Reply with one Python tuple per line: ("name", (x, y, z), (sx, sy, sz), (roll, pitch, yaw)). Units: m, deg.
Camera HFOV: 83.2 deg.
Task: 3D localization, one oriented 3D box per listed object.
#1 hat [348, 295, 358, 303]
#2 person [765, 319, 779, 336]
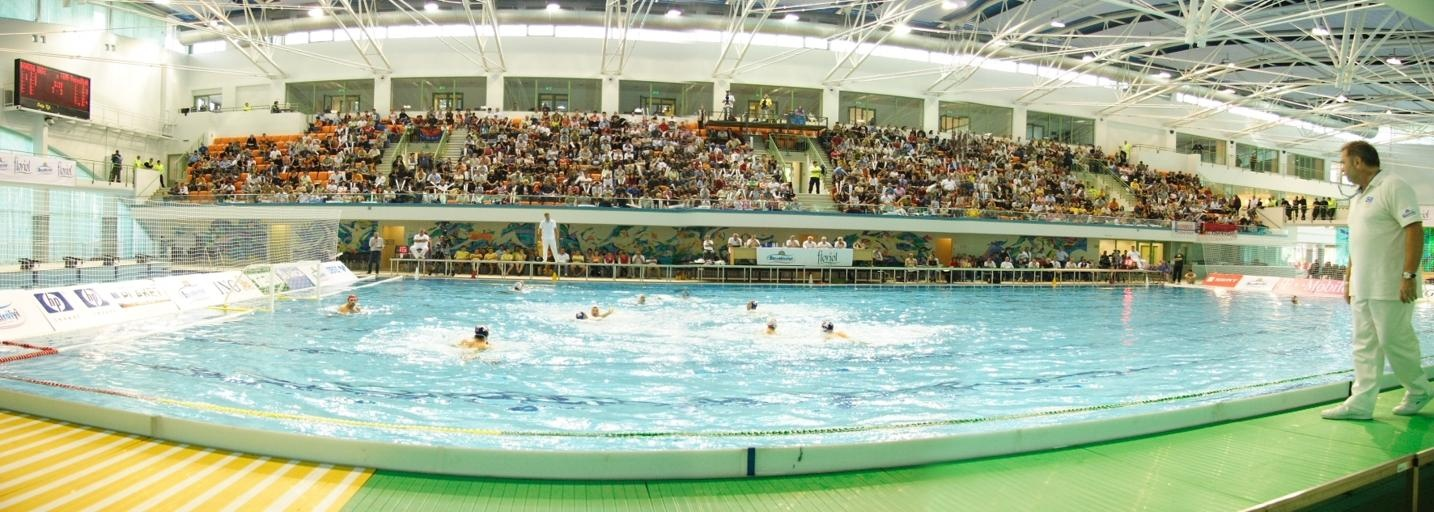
("hat", (-25.188, 3.042, 56.018), (0.805, 0.468, 0.827), (6, -13, -31))
("person", (3.566, 4.931, 54.561), (0.703, 0.747, 1.479), (7, -23, 6))
